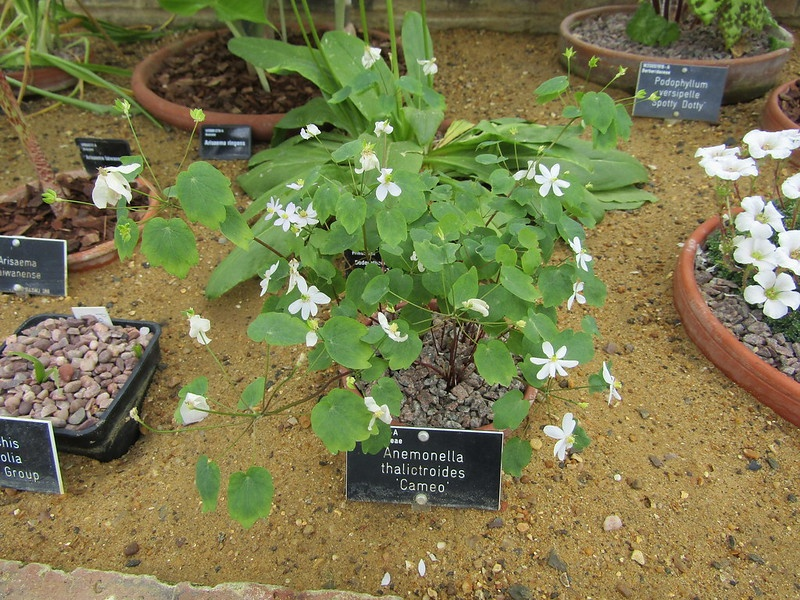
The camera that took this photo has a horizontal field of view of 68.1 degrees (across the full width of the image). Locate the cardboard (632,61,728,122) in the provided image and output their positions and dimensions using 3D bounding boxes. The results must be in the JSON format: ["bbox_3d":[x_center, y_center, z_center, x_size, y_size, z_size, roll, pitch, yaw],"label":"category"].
[{"bbox_3d":[1.309,-0.974,2.741,0.466,0.363,0.070,6,32,13],"label":"cardboard"}]
